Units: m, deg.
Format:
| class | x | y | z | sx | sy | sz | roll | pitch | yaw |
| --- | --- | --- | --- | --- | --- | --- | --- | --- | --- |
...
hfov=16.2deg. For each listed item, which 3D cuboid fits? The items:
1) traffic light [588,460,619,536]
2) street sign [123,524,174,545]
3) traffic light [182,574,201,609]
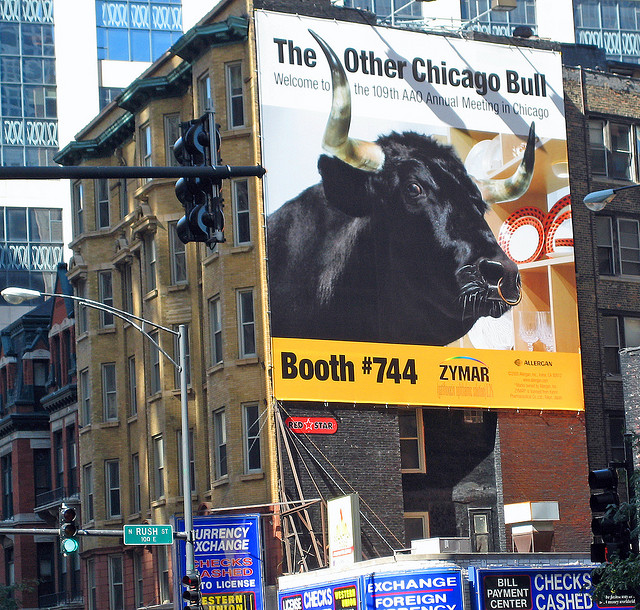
| class | x | y | z | sx | sy | sz | roll | pitch | yaw |
| --- | --- | --- | --- | --- | --- | --- | --- | --- | --- |
| traffic light | 8.132 | 5.523 | 64.254 | 0.470 | 2.352 | 0.692 | 5 | -20 | -28 |
| street sign | -5.860 | 7.855 | 77.080 | 1.709 | 0.683 | 1.877 | -3 | -6 | -5 |
| traffic light | -4.324 | 9.638 | 75.624 | 0.586 | 1.161 | 1.667 | -3 | -6 | -4 |
